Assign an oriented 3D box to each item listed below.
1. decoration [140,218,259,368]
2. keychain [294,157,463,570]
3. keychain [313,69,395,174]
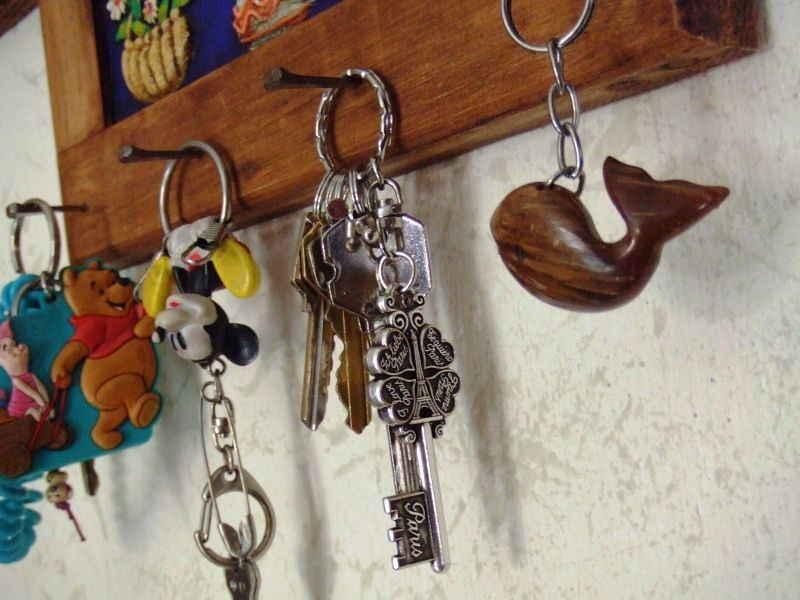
[{"bbox_3d":[-0.181,-0.001,0.793,0.107,0.139,0.069,1,1,21],"label":"decoration"},{"bbox_3d":[-0.019,0.052,0.692,0.127,0.308,0.124,-13,-23,20],"label":"keychain"},{"bbox_3d":[-0.035,-0.144,0.716,0.081,0.095,0.017,-4,-6,44],"label":"keychain"}]
